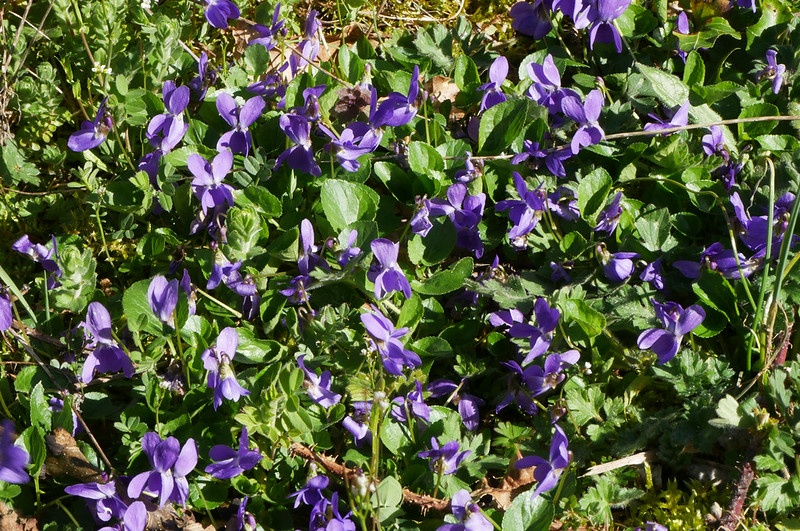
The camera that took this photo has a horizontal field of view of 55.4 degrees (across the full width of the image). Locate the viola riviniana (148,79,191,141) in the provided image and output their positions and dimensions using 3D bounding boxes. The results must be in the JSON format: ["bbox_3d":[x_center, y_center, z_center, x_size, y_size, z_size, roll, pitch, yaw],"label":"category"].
[{"bbox_3d":[-1.014,-0.659,3.388,0.317,0.208,0.087,7,3,37],"label":"viola riviniana"}]

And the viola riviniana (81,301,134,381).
[{"bbox_3d":[-1.201,0.292,3.089,0.182,0.374,0.083,-9,26,-13],"label":"viola riviniana"}]

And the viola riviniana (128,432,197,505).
[{"bbox_3d":[-0.913,0.778,2.898,0.200,0.224,0.291,-6,66,18],"label":"viola riviniana"}]
